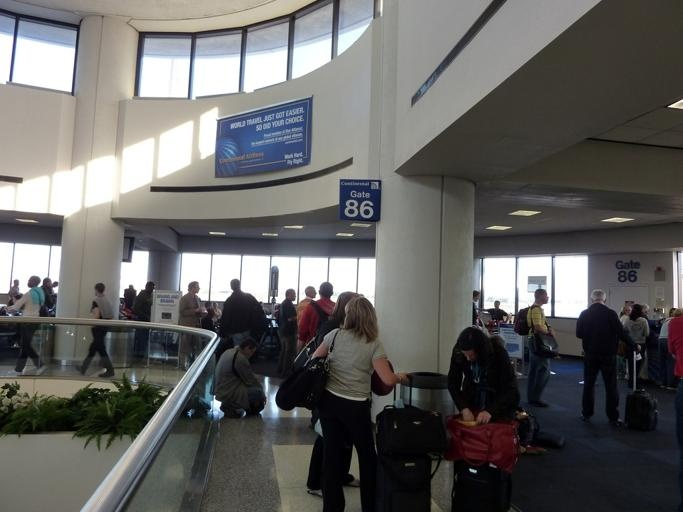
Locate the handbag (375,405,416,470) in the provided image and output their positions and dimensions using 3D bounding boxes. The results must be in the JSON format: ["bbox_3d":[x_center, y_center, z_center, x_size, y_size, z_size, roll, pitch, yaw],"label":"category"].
[{"bbox_3d":[0.494,1.540,4.360,0.375,0.473,0.274,17,-36,-25],"label":"handbag"}]

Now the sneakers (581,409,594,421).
[{"bbox_3d":[3.675,2.407,7.536,0.162,0.178,0.127,1,-6,18],"label":"sneakers"}]

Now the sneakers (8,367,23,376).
[{"bbox_3d":[-4.955,1.799,7.670,0.231,0.111,0.082,5,-9,-18],"label":"sneakers"}]

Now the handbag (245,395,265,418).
[{"bbox_3d":[-1.301,2.245,7.450,0.225,0.332,0.170,14,17,-9],"label":"handbag"}]

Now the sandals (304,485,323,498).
[{"bbox_3d":[-0.283,2.402,5.116,0.201,0.082,0.077,2,-4,24],"label":"sandals"}]

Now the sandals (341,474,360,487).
[{"bbox_3d":[0.104,2.376,5.342,0.155,0.125,0.204,3,-4,4],"label":"sandals"}]

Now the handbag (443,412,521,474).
[{"bbox_3d":[1.247,1.698,4.484,0.617,0.417,0.278,-7,-6,34],"label":"handbag"}]

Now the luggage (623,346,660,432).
[{"bbox_3d":[4.359,1.990,7.317,0.304,1.097,0.464,-1,0,-29],"label":"luggage"}]
